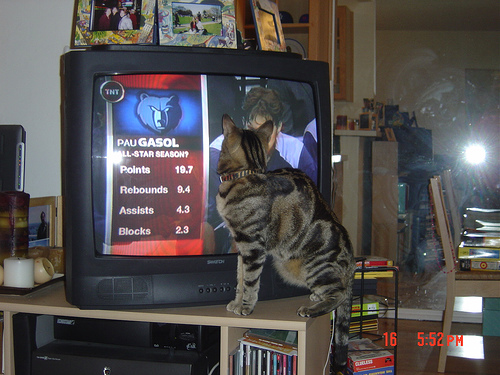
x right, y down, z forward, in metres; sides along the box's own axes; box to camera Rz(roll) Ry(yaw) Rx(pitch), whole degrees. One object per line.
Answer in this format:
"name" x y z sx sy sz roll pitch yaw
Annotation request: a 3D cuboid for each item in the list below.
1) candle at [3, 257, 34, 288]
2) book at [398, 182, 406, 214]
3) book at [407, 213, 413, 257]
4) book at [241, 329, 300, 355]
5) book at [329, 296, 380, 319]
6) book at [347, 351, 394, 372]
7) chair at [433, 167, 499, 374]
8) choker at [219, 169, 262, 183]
"candle" -1.007 0.375 2.189 0.120 0.125 0.094 -3 -3 31
"book" 1.138 0.085 3.772 0.056 0.238 0.053 -1 -3 15
"book" 1.204 0.361 3.794 0.046 0.319 0.042 -2 -3 18
"book" 0.120 0.659 2.204 0.171 0.036 0.189 13 13 -25
"book" 0.688 0.806 3.281 0.231 0.058 0.238 -9 0 -37
"book" 0.607 0.886 2.553 0.233 0.081 0.080 0 -3 -8
"chair" 1.420 0.500 3.333 0.398 1.321 0.907 -2 -3 20
"choker" -0.034 -0.050 2.062 0.157 0.043 0.014 -1 -3 -3
